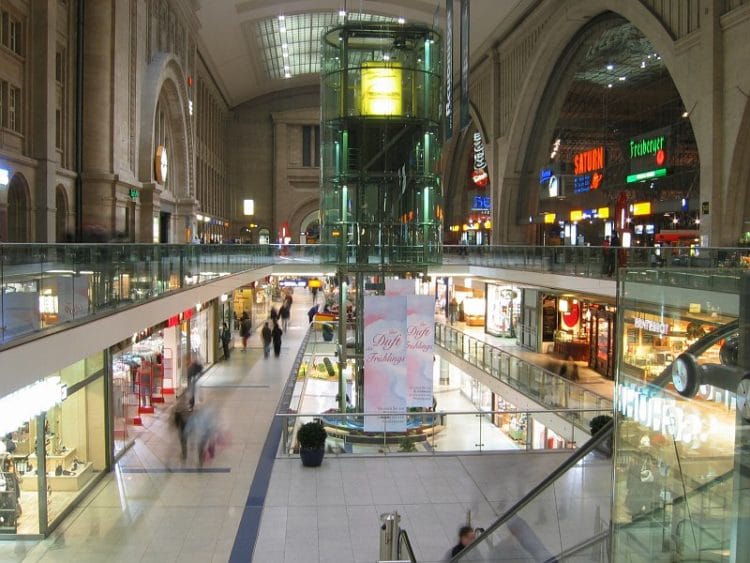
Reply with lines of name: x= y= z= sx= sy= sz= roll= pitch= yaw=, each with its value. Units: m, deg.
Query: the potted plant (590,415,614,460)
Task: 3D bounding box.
potted plant: x=2.814 y=1.901 z=7.695 sx=0.293 sy=0.393 sz=0.273 roll=7 pitch=-5 yaw=9

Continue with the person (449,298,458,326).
person: x=4.650 y=1.724 z=36.560 sx=0.451 sy=1.249 sz=0.717 roll=-1 pitch=4 yaw=-10

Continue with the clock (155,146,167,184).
clock: x=-8.869 y=-4.818 z=25.539 sx=0.299 sy=1.532 sz=1.134 roll=-1 pitch=4 yaw=-11

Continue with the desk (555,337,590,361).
desk: x=7.743 y=2.653 z=24.260 sx=0.799 sy=0.375 sz=1.082 roll=2 pitch=5 yaw=6

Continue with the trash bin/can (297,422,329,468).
trash bin/can: x=-1.220 y=3.110 z=12.168 sx=0.689 sy=0.945 sz=0.685 roll=1 pitch=4 yaw=5

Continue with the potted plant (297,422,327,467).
potted plant: x=-1.293 y=3.211 z=12.113 sx=0.535 sy=0.747 sz=0.510 roll=1 pitch=-13 yaw=-22

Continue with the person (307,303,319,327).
person: x=-3.661 y=1.976 z=36.273 sx=0.441 sy=0.435 sz=0.993 roll=-7 pitch=29 yaw=7
